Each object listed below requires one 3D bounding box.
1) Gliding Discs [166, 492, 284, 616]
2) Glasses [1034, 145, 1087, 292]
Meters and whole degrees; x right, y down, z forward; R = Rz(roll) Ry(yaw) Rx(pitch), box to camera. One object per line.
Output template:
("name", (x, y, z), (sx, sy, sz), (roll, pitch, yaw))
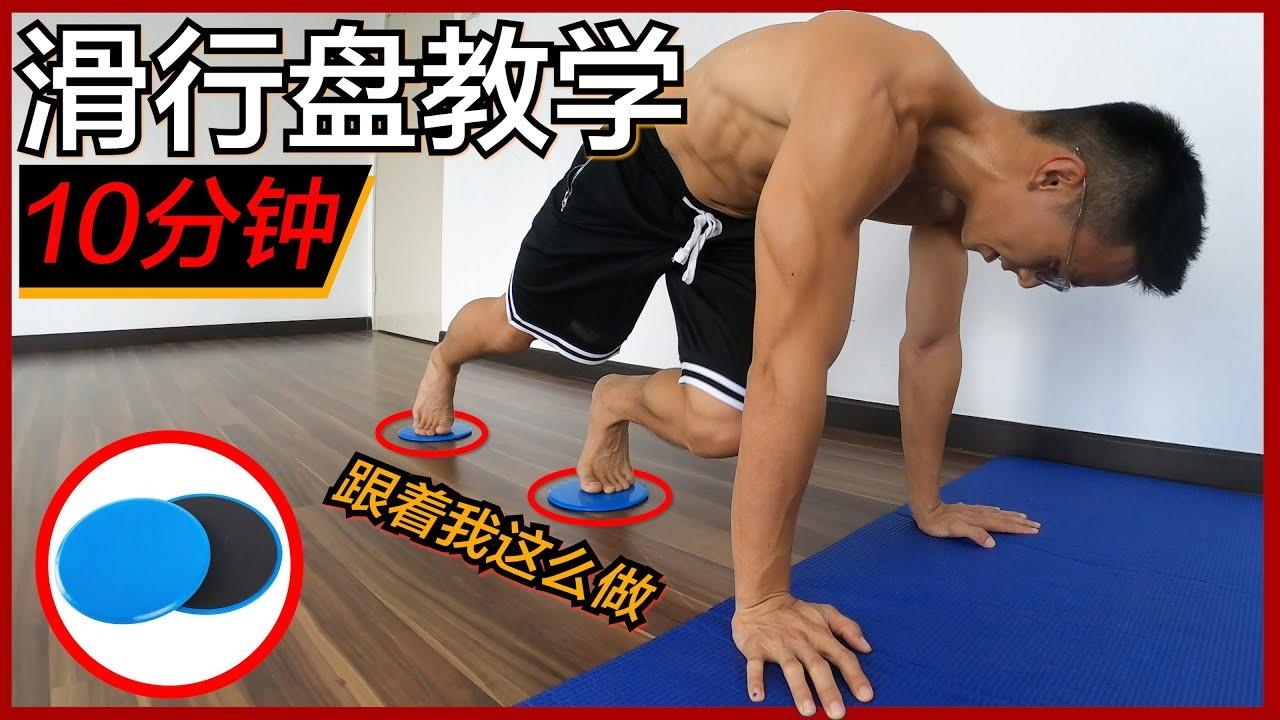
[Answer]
("Gliding Discs", (-1.063, 0.502, 1.959), (0.269, 0.012, 0.280), (15, 49, -19))
("Glasses", (1.081, -0.323, 1.930), (0.090, 0.290, 0.104), (2, 11, 10))
